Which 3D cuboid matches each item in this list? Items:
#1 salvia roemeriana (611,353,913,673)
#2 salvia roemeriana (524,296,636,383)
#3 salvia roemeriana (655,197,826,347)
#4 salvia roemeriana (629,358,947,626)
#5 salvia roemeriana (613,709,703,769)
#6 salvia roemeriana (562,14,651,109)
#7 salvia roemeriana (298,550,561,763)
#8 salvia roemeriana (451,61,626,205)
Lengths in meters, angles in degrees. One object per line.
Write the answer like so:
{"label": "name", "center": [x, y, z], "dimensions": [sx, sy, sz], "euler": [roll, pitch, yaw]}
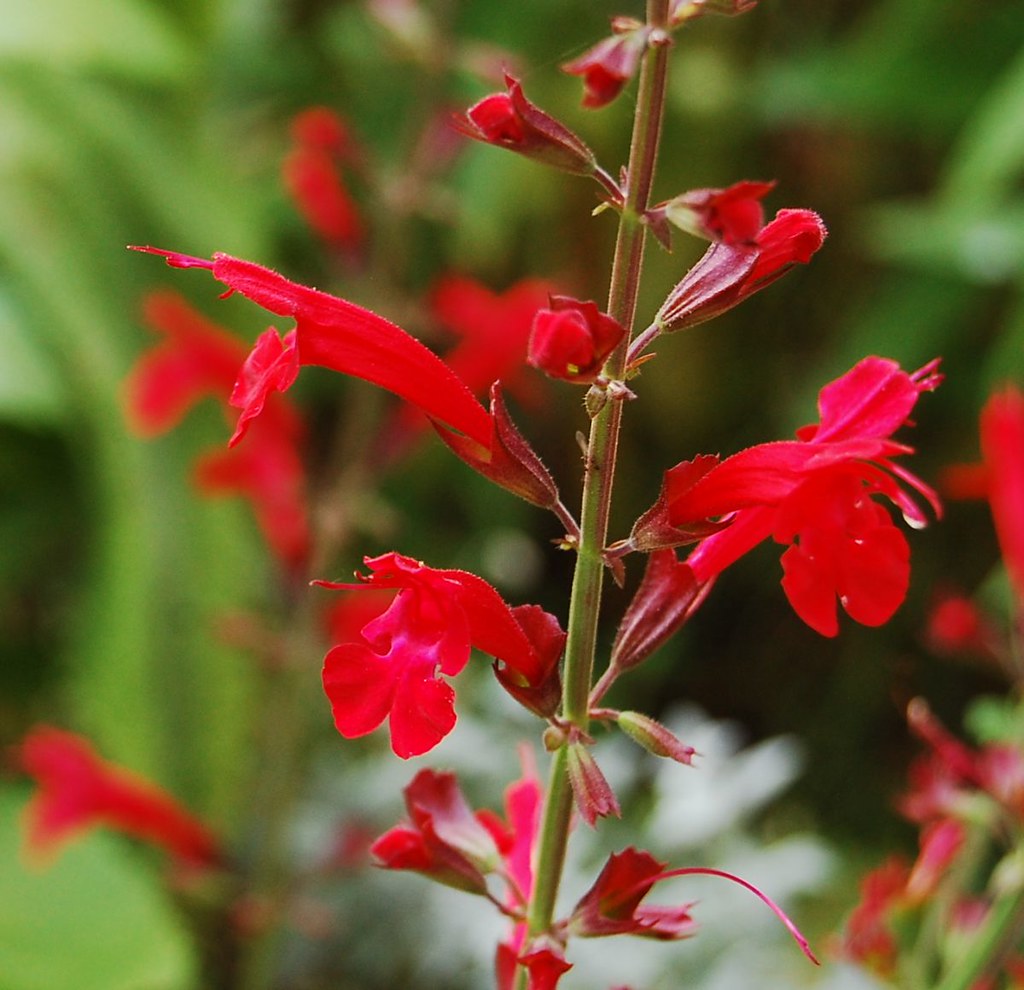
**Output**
{"label": "salvia roemeriana", "center": [0.296, 0.010, 1.412], "dimensions": [0.325, 0.230, 0.267], "euler": [-4, 22, 46]}
{"label": "salvia roemeriana", "center": [0.060, -0.148, 1.279], "dimensions": [0.091, 0.091, 0.085], "euler": [-5, 14, 4]}
{"label": "salvia roemeriana", "center": [0.243, -0.246, 1.371], "dimensions": [0.043, 0.084, 0.256], "euler": [31, 49, 21]}
{"label": "salvia roemeriana", "center": [0.265, 0.007, 1.348], "dimensions": [0.287, 0.217, 0.260], "euler": [-2, -9, 9]}
{"label": "salvia roemeriana", "center": [0.143, 0.244, 1.355], "dimensions": [0.100, 0.038, 0.038], "euler": [31, 3, 43]}
{"label": "salvia roemeriana", "center": [0.093, -0.405, 1.258], "dimensions": [0.073, 0.085, 0.162], "euler": [-4, 14, 11]}
{"label": "salvia roemeriana", "center": [-0.093, 0.165, 1.374], "dimensions": [0.221, 0.199, 0.114], "euler": [-18, -6, -19]}
{"label": "salvia roemeriana", "center": [0.021, -0.349, 1.359], "dimensions": [0.100, 0.179, 0.104], "euler": [-51, 7, -5]}
